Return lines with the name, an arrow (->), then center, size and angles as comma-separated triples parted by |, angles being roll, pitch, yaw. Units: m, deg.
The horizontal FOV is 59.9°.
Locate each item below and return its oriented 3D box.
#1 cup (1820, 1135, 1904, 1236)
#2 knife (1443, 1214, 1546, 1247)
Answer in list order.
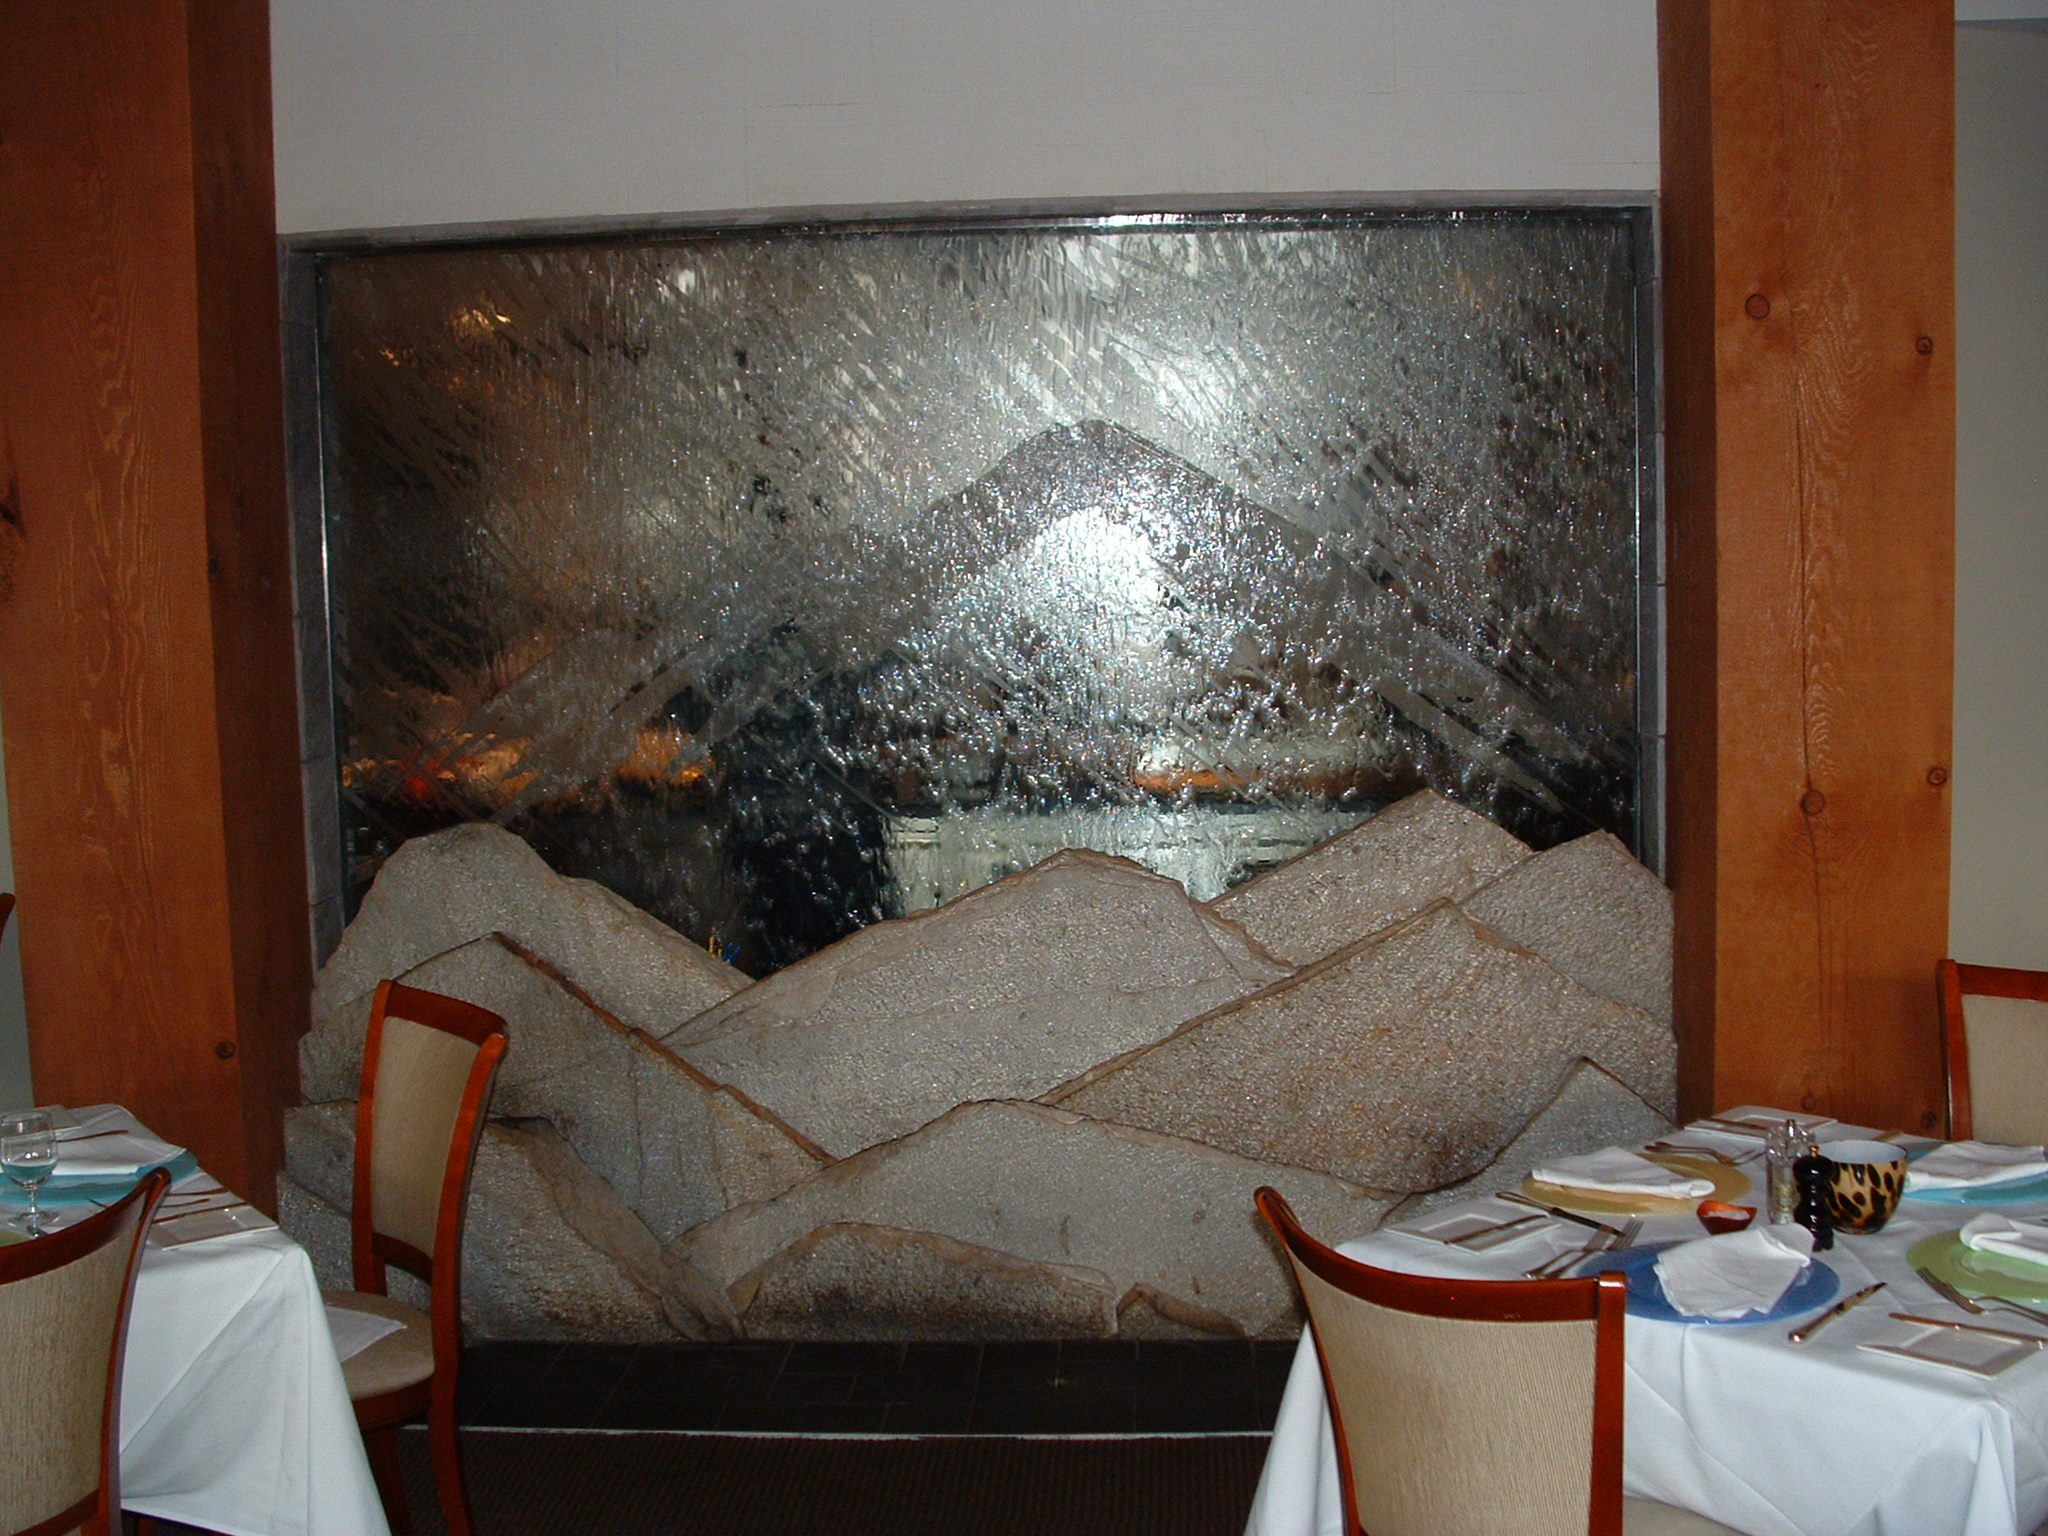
cup -> 1.366, 0.679, 2.879 | 0.116, 0.108, 0.137 | -2, -7, 2
knife -> 0.776, 0.764, 2.944 | 0.074, 0.020, 0.071 | -9, 2, -38
